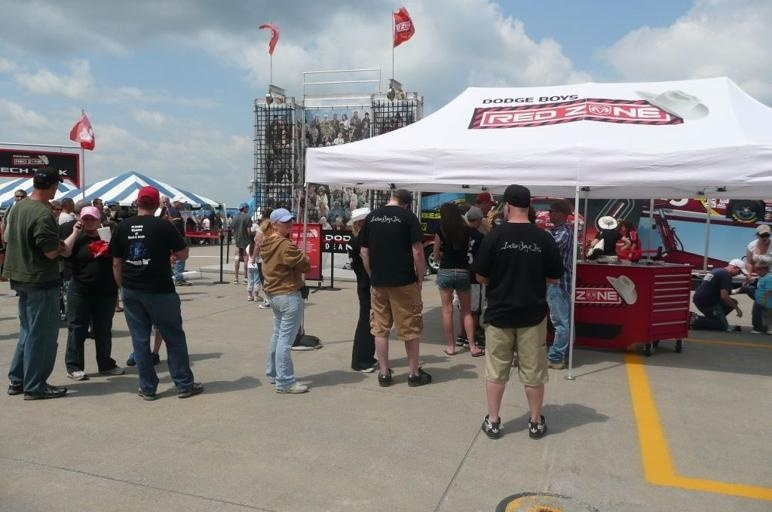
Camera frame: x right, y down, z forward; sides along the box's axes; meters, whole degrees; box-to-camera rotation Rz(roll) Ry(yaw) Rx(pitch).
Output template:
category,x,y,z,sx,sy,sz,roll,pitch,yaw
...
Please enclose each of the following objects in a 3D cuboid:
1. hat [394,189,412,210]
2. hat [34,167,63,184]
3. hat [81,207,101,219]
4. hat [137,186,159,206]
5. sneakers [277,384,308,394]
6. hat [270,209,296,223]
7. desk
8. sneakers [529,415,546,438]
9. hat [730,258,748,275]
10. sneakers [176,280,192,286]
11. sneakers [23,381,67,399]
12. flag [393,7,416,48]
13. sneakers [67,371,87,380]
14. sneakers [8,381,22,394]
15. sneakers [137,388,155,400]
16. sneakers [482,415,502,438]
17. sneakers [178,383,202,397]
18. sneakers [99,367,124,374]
category,x,y,z,sx,sy,sz,roll,pitch,yaw
hat,0.252,-0.751,8.478,0.194,0.268,0.266,9,6,12
hat,-4.165,-0.975,7.853,0.275,0.230,0.247,-2,4,-30
hat,-3.869,-0.582,8.388,0.156,0.114,0.226,-9,-11,-10
hat,-2.909,-0.715,7.950,0.278,0.218,0.451,8,3,-12
sneakers,-1.175,1.690,8.061,0.383,0.170,0.141,0,-1,-3
hat,-1.358,-0.509,8.238,0.229,0.124,0.181,-12,-3,32
desk,3.631,0.752,9.530,1.428,1.316,1.496,4,8,34
sneakers,1.708,1.911,7.182,0.201,0.220,0.299,1,4,14
hat,6.802,0.217,12.275,0.369,0.212,0.237,18,6,-20
sneakers,-4.935,0.676,15.539,0.411,0.180,0.139,1,2,-14
sneakers,-4.138,1.675,7.803,0.506,0.218,0.205,0,2,-31
flag,0.722,-9.543,26.660,0.800,1.616,0.972,0,3,1
sneakers,-4.025,1.569,8.351,0.247,0.103,0.101,0,1,9
sneakers,-4.567,1.641,7.851,0.255,0.153,0.086,1,4,22
sneakers,-2.959,1.688,7.911,0.100,0.117,0.248,-1,8,-28
sneakers,1.190,1.924,7.127,0.124,0.147,0.320,1,3,2
sneakers,-2.448,1.673,7.981,0.112,0.126,0.280,7,12,33
sneakers,-3.674,1.563,8.593,0.302,0.133,0.111,-1,0,-9
